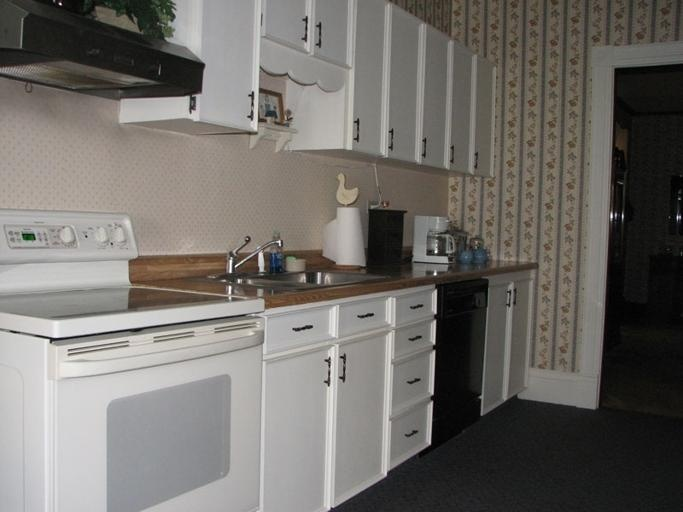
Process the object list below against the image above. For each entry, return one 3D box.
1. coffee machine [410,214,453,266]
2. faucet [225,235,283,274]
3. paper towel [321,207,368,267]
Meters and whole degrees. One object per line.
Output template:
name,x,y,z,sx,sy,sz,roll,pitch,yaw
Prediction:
coffee machine,0.658,-0.114,3.910,0.340,0.457,0.252,0,2,18
faucet,-0.469,-0.022,2.840,0.283,0.182,0.473,0,6,-12
paper towel,0.018,-0.106,3.235,0.361,0.389,0.222,0,6,13
